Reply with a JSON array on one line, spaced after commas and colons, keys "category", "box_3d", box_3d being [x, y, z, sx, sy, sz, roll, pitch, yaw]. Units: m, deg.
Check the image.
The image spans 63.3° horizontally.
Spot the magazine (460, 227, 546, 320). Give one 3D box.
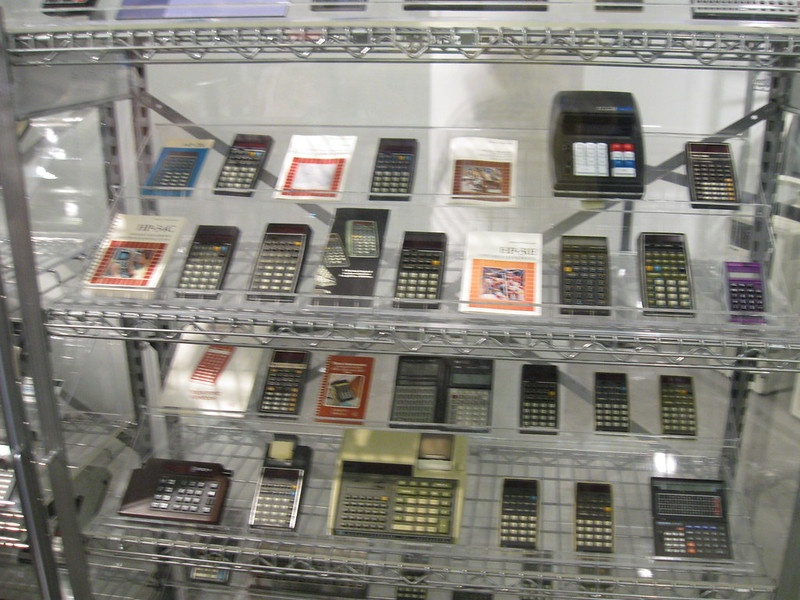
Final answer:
[{"category": "magazine", "box_3d": [0.252, -0.061, 1.566, 0.280, 0.176, 0.219, 2, -15, 4]}]

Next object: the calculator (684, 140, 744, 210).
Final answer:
[{"category": "calculator", "box_3d": [0.797, -0.315, 1.652, 0.186, 0.158, 0.045, -2, -17, 4]}]

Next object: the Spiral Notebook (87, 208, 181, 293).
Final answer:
[{"category": "Spiral Notebook", "box_3d": [-0.670, -0.119, 1.634, 0.191, 0.253, 0.088, 6, -51, 6]}]

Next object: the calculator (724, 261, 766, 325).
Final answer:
[{"category": "calculator", "box_3d": [0.830, -0.029, 1.556, 0.086, 0.038, 0.119, -1, -36, 32]}]

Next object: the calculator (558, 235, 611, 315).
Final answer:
[{"category": "calculator", "box_3d": [0.447, -0.075, 1.578, 0.121, 0.198, 0.094, 0, -51, 11]}]

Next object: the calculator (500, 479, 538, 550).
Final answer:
[{"category": "calculator", "box_3d": [0.300, 0.536, 1.637, 0.091, 0.177, 0.069, 3, -51, 10]}]

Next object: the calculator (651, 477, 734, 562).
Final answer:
[{"category": "calculator", "box_3d": [0.711, 0.538, 1.593, 0.248, 0.156, 0.051, -2, -17, 5]}]
